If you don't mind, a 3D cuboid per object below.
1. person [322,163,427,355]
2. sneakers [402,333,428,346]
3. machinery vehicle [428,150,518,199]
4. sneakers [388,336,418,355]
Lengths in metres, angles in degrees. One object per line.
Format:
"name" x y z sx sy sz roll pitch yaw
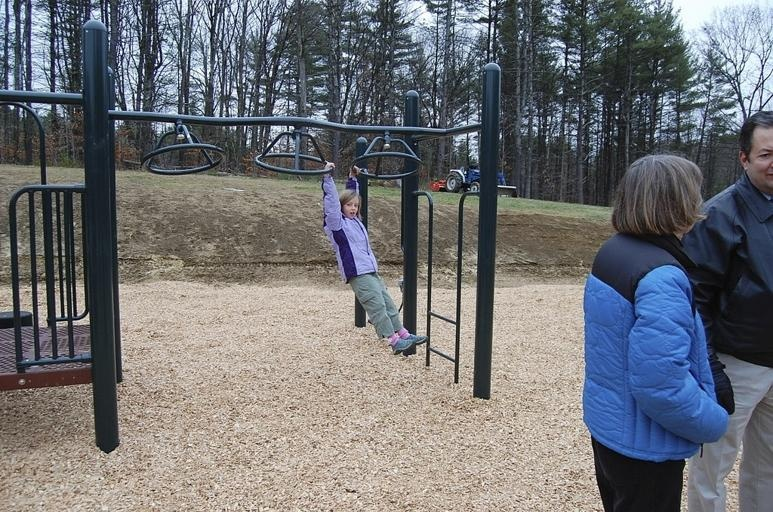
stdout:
"person" -0.427 0.088 18.000 1.571 3.697 0.944 0 9 0
"sneakers" 0.515 1.603 17.960 0.535 0.201 0.191 -1 10 5
"machinery vehicle" 3.003 -2.752 32.982 3.275 1.508 2.062 3 6 42
"sneakers" 0.261 1.680 17.877 0.538 0.248 0.264 -18 12 29
